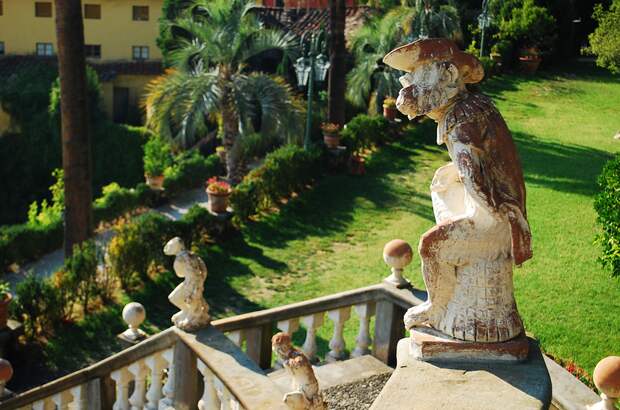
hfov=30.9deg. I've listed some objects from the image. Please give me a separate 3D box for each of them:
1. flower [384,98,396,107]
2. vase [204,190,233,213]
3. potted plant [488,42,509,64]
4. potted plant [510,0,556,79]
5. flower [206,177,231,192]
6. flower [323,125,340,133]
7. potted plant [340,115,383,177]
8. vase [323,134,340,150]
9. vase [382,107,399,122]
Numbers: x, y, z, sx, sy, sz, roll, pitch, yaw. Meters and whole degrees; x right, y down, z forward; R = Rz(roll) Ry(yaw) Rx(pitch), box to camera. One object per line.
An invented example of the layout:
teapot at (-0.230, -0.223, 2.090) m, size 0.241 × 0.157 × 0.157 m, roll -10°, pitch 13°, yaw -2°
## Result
flower at (3.073, -4.025, 43.499) m, size 0.426 × 0.292 × 0.704 m, roll 1°, pitch 20°, yaw 0°
vase at (-2.976, -0.103, 37.060) m, size 0.738 × 0.722 × 0.453 m, roll -1°, pitch 18°, yaw -7°
potted plant at (8.184, -6.772, 48.514) m, size 0.816 × 1.057 × 0.921 m, roll 5°, pitch 20°, yaw 11°
potted plant at (9.539, -7.284, 48.280) m, size 2.294 × 4.207 × 2.748 m, roll 3°, pitch 16°, yaw 12°
flower at (-3.098, -0.642, 37.263) m, size 0.613 × 0.352 × 0.669 m, roll 2°, pitch 5°, yaw -31°
flower at (0.732, -2.820, 40.836) m, size 0.371 × 0.252 × 0.406 m, roll 0°, pitch 13°, yaw -13°
potted plant at (1.852, -2.366, 41.742) m, size 1.095 × 1.503 × 3.014 m, roll 7°, pitch 21°, yaw 18°
vase at (0.777, -2.373, 40.765) m, size 0.497 × 0.452 × 0.524 m, roll 13°, pitch 21°, yaw 36°
vase at (3.128, -3.586, 43.511) m, size 0.473 × 0.423 × 0.532 m, roll -1°, pitch 21°, yaw -4°
